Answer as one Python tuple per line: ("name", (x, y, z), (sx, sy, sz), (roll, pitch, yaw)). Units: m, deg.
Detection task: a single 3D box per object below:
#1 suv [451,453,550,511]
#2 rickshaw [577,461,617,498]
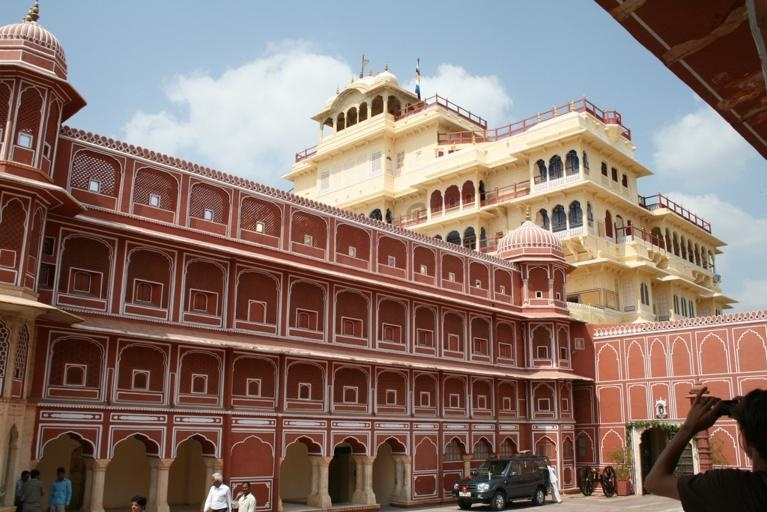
("suv", (4.889, 9.006, 27.184), (4.128, 2.102, 1.157), (15, -30, -36))
("rickshaw", (9.843, 10.088, 30.892), (1.531, 1.225, 1.524), (-12, -29, 29))
